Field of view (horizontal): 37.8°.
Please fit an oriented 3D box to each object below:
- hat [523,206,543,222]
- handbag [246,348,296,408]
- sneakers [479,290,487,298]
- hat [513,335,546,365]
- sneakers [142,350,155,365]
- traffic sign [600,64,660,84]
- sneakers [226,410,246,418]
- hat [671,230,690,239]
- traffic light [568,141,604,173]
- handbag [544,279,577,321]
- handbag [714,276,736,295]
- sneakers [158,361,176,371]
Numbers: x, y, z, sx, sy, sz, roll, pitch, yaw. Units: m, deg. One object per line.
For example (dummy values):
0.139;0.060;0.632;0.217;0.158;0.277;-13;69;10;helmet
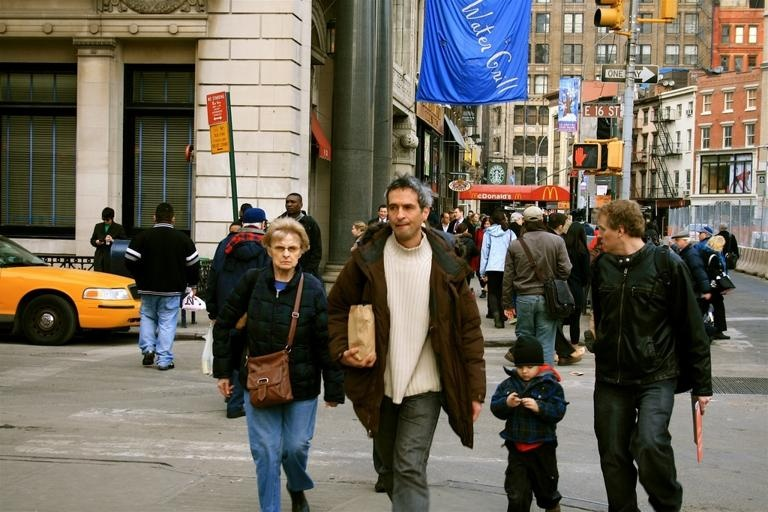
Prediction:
2.554;-0.705;18.998;0.230;0.177;0.309;-1;15;5;hat
-1.407;1.512;13.757;0.626;0.671;0.385;-8;-10;12;handbag
2.692;1.063;30.366;0.132;0.208;0.344;-1;-5;15;sneakers
1.814;1.169;14.034;0.383;0.361;0.341;-3;2;-21;hat
-4.147;1.786;19.324;0.189;0.245;0.251;15;-16;-19;sneakers
6.169;-4.476;27.766;1.384;0.567;1.529;-1;1;11;traffic sign
-2.265;2.355;16.802;0.113;0.130;0.333;4;6;30;sneakers
6.459;-0.437;23.688;0.401;0.145;0.353;-1;1;-30;hat
4.956;-2.386;27.152;0.775;0.670;0.575;-1;1;26;traffic light
2.939;0.714;18.613;0.361;0.643;0.548;-14;-14;39;handbag
7.178;0.603;23.518;0.407;0.116;0.397;-6;-19;-2;handbag
-3.762;1.882;19.138;0.193;0.121;0.350;0;2;43;sneakers
